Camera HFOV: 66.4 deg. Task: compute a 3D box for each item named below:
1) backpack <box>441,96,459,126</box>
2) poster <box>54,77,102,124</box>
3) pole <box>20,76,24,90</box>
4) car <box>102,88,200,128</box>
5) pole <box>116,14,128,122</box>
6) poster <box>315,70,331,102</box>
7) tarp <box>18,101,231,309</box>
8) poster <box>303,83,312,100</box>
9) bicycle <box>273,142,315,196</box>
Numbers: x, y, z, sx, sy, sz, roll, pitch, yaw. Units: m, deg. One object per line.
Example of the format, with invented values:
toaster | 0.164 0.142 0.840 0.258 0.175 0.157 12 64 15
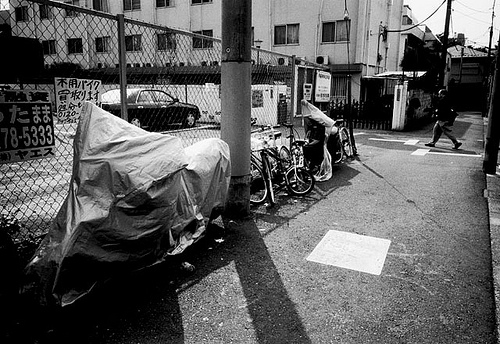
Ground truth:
backpack | 7.242 -2.081 13.662 0.395 1.111 0.780 -8 24 32
poster | -2.358 -0.957 5.161 0.085 0.594 0.615 -1 6 33
pole | -2.959 -1.160 4.927 0.054 0.150 0.039 -13 19 -42
car | -4.018 -2.590 15.449 1.802 1.567 4.626 12 17 38
pole | -1.922 -1.579 5.835 0.108 1.608 0.117 -2 5 -12
poster | 2.755 -3.285 14.488 0.566 1.257 1.158 1 10 19
tarp | -1.443 0.202 5.643 1.585 1.984 3.718 18 14 27
poster | 2.016 -2.824 13.382 0.109 0.695 0.719 1 16 26
bicycle | 0.962 -0.079 8.384 0.896 1.046 0.707 2 15 10
